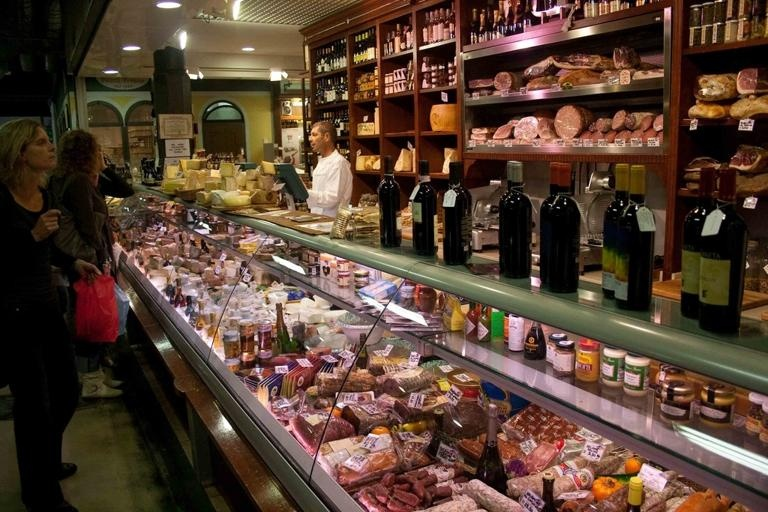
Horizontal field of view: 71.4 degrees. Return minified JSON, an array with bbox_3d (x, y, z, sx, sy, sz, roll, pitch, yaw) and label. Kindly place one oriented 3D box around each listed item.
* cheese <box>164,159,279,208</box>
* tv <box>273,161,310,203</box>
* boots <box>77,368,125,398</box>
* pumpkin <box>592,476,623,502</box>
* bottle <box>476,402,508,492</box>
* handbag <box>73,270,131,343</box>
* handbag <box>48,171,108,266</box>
[{"bbox_3d":[-1.304,-0.565,4.224,0.289,0.155,0.583,-10,17,-42],"label":"cheese"},{"bbox_3d":[-0.584,-0.464,3.338,0.064,0.217,0.236,-39,40,-25],"label":"tv"},{"bbox_3d":[-2.487,1.119,4.830,0.469,0.302,0.182,0,5,-23],"label":"boots"},{"bbox_3d":[0.807,0.842,1.936,0.096,0.056,0.099,7,14,35],"label":"pumpkin"},{"bbox_3d":[0.424,0.703,2.093,0.118,0.348,0.234,0,11,7],"label":"bottle"},{"bbox_3d":[-2.042,0.395,4.052,0.332,0.471,0.401,3,-10,0],"label":"handbag"},{"bbox_3d":[-2.261,-0.264,3.918,0.454,0.757,0.595,-12,17,-41],"label":"handbag"}]
